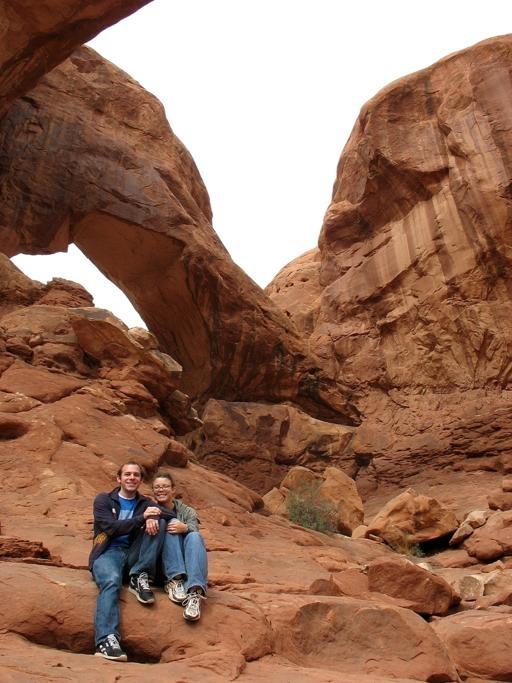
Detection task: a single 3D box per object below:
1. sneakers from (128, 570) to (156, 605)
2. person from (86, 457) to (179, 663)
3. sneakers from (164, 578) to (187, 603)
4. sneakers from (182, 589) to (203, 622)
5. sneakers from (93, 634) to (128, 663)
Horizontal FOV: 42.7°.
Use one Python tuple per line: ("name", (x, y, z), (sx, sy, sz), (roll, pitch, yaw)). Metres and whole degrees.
("sneakers", (-0.688, 1.488, 3.964), (0.154, 0.147, 0.253), (13, -10, -13))
("person", (-0.793, 1.407, 4.158), (0.482, 1.029, 0.716), (25, -59, -27))
("sneakers", (-0.492, 1.524, 4.005), (0.089, 0.119, 0.189), (14, -11, -17))
("sneakers", (-0.380, 1.581, 3.928), (0.120, 0.151, 0.279), (11, -10, -1))
("sneakers", (-0.768, 1.619, 3.458), (0.235, 0.096, 0.084), (-18, -42, 42))
